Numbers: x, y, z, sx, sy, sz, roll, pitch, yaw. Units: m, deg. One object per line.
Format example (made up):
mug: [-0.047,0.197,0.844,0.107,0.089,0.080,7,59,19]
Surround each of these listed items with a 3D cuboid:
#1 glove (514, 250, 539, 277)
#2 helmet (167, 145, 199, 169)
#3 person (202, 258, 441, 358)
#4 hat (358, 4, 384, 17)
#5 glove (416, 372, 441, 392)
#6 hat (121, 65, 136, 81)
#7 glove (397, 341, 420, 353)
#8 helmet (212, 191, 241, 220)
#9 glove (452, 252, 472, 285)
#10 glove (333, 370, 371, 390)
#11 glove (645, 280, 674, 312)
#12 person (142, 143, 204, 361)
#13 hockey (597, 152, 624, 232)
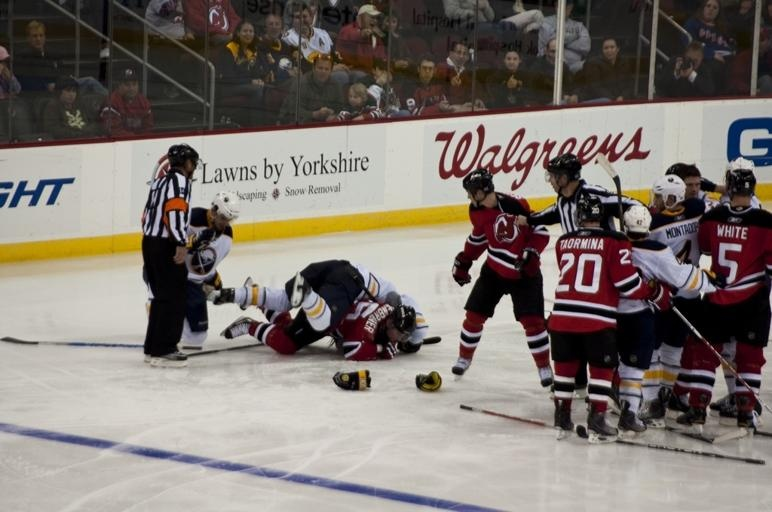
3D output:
glove: [1.261,0.062,9.105,0.179,0.087,0.234,33,-43,-8]
helmet: [-1.910,-0.941,9.710,0.261,0.233,0.200,-22,24,-33]
person: [-0.614,0.493,9.900,1.769,0.586,1.017,1,-7,19]
hat: [-0.241,-3.575,15.036,0.227,0.112,0.159,-3,7,12]
glove: [0.384,1.107,9.237,0.237,0.175,0.230,0,4,5]
hat: [-3.341,-2.358,13.318,0.155,0.139,0.153,-1,7,-11]
glove: [0.232,0.891,10.123,0.261,0.083,0.114,1,16,2]
helmet: [-1.507,-0.465,9.722,0.230,0.258,0.189,-2,5,-21]
glove: [0.710,0.141,9.694,0.157,0.285,0.215,14,16,-4]
glove: [-0.293,1.093,9.145,0.254,0.105,0.179,3,6,-1]
glove: [2.208,0.314,8.243,0.267,0.189,0.112,35,-37,-22]
person: [-2.039,0.100,9.538,0.454,1.765,0.256,0,5,2]
hockey: [1.903,-0.459,8.593,0.136,0.479,0.071,-4,1,13]
